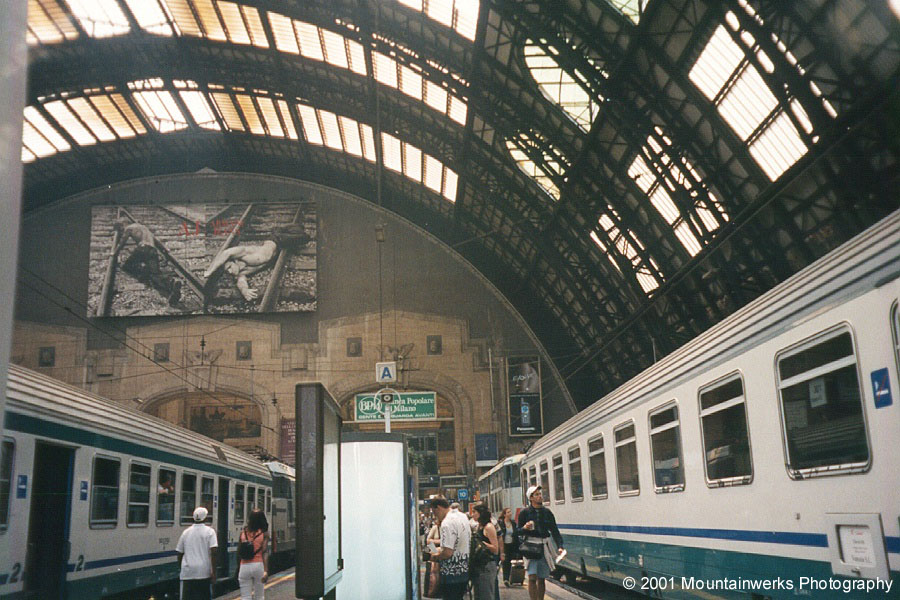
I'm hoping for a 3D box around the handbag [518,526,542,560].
[{"bbox_3d":[1.533,4.543,15.323,0.382,0.604,0.309,-15,-17,14],"label":"handbag"}]
